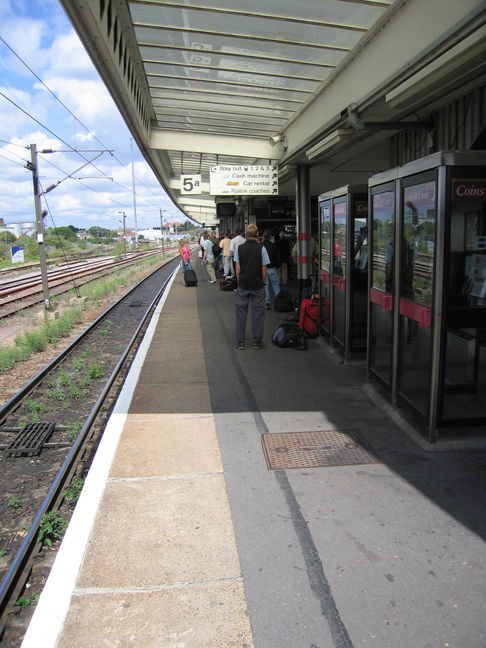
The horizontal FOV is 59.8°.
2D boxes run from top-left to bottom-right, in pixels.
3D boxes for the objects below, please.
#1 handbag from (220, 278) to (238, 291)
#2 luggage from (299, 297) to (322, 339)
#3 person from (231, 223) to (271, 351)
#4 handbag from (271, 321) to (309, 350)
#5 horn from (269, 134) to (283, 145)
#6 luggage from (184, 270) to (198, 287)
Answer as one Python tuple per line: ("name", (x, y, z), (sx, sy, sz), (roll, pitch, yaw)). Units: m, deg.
("handbag", (-0.643, -1.683, 17.722), (0.722, 0.514, 0.521), (0, 3, -7))
("luggage", (1.392, -0.148, 8.818), (0.398, 0.753, 0.624), (2, 20, -8))
("person", (0.131, -0.686, 7.940), (0.612, 2.280, 0.934), (0, 3, -1))
("handbag", (0.861, 0.225, 7.948), (0.644, 0.439, 0.688), (0, 3, 4))
("horn", (1.015, -5.778, 13.231), (0.283, 0.281, 0.553), (-1, 3, -9))
("luggage", (-2.559, -2.300, 20.391), (0.609, 0.983, 0.896), (0, 3, -6))
